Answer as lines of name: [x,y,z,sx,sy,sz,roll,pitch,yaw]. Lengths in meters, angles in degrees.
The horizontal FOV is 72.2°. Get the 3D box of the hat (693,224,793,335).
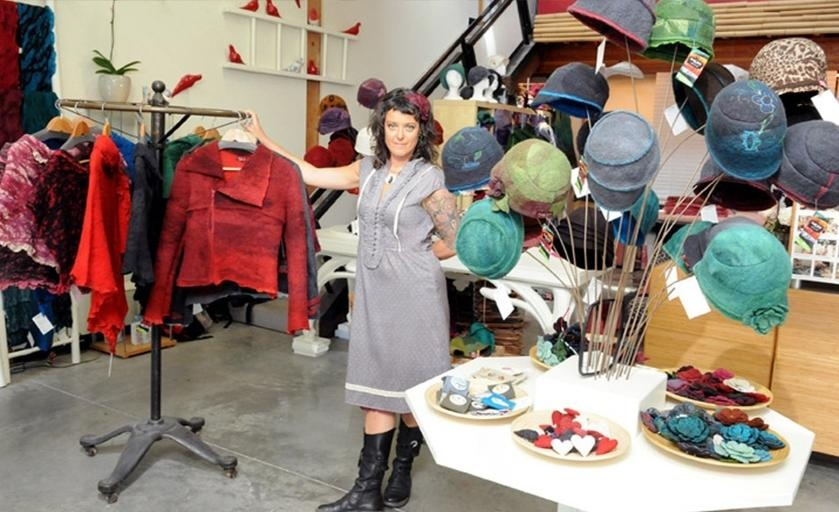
hat: [1.204,0.092,2.131,0.344,0.413,0.198,6,18,13]

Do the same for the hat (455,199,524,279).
hat: [0.297,-0.074,2.339,0.266,0.322,0.124,19,19,20]

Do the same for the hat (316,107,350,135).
hat: [-0.717,-1.141,4.897,0.282,0.156,0.190,-13,3,-10]

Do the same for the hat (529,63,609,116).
hat: [0.595,-0.721,2.422,0.379,0.180,0.247,-2,11,-18]

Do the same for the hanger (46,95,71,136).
hanger: [-2.178,-0.848,3.475,0.120,0.193,0.525,-8,19,-29]

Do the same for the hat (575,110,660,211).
hat: [0.740,-0.340,2.235,0.323,0.346,0.369,2,-17,20]

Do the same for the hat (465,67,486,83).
hat: [0.521,-1.591,4.986,0.178,0.090,0.129,-38,14,-30]

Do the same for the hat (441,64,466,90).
hat: [0.302,-1.629,5.073,0.096,0.243,0.226,18,-5,-4]

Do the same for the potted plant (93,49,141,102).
potted plant: [-2.695,-1.529,5.044,0.389,0.357,0.349,6,7,31]

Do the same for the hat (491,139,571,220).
hat: [0.446,-0.299,2.234,0.272,0.292,0.110,4,18,6]

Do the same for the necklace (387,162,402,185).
necklace: [-0.135,-0.449,3.109,0.094,0.103,0.026,8,-16,9]

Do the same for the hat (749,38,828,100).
hat: [1.506,-0.770,2.401,0.337,0.231,0.243,-20,14,-32]

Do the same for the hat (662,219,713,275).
hat: [1.139,-0.050,2.386,0.149,0.208,0.166,34,-23,-21]

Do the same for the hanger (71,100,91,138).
hanger: [-1.992,-0.809,3.351,0.116,0.196,0.354,-8,19,-29]

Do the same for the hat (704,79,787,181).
hat: [1.195,-0.437,2.152,0.299,0.359,0.186,-6,3,11]
